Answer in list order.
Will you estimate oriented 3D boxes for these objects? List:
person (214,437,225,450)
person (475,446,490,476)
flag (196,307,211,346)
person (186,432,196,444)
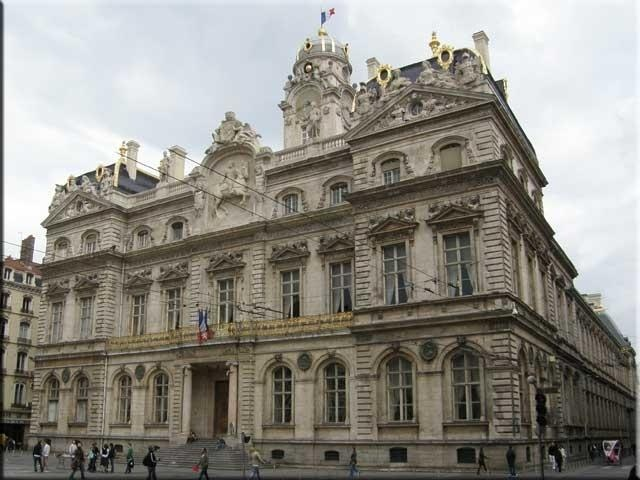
[{"bbox_3d":[-7.211,14.770,60.195,0.765,0.931,0.598,-6,-38,4],"label":"person"},{"bbox_3d":[9.938,13.733,51.828,0.696,1.707,1.303,-6,-21,10],"label":"person"},{"bbox_3d":[-8.695,6.384,62.744,0.943,2.944,2.153,1,-21,-9],"label":"flag"},{"bbox_3d":[-9.576,14.800,62.398,0.604,1.043,0.714,-14,-24,28],"label":"person"}]
